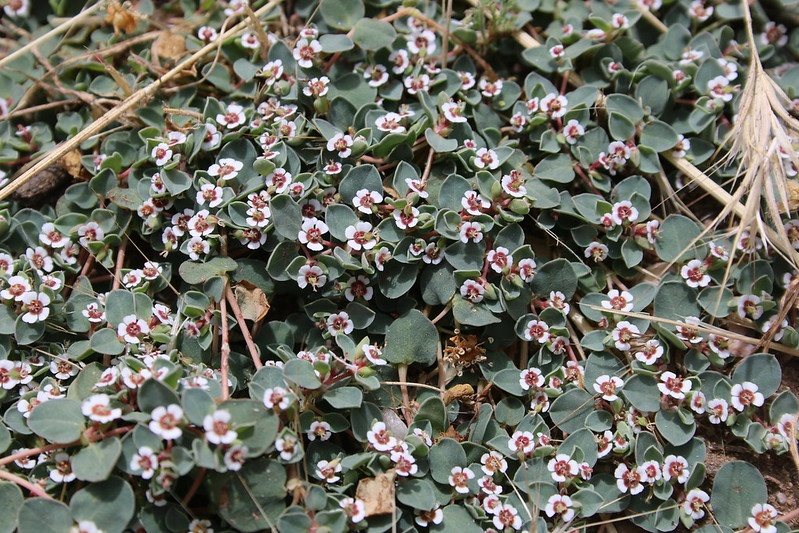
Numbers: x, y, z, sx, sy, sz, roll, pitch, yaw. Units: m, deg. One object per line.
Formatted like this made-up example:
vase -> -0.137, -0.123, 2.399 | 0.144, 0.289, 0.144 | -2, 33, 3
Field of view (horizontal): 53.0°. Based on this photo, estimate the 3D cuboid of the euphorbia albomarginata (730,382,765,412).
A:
euphorbia albomarginata -> 1.475, 0.551, 3.407 | 0.148, 0.080, 0.097 | -8, 47, -4

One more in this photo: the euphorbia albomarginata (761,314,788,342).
euphorbia albomarginata -> 1.639, 0.266, 3.505 | 0.100, 0.099, 0.100 | 15, 50, 17
